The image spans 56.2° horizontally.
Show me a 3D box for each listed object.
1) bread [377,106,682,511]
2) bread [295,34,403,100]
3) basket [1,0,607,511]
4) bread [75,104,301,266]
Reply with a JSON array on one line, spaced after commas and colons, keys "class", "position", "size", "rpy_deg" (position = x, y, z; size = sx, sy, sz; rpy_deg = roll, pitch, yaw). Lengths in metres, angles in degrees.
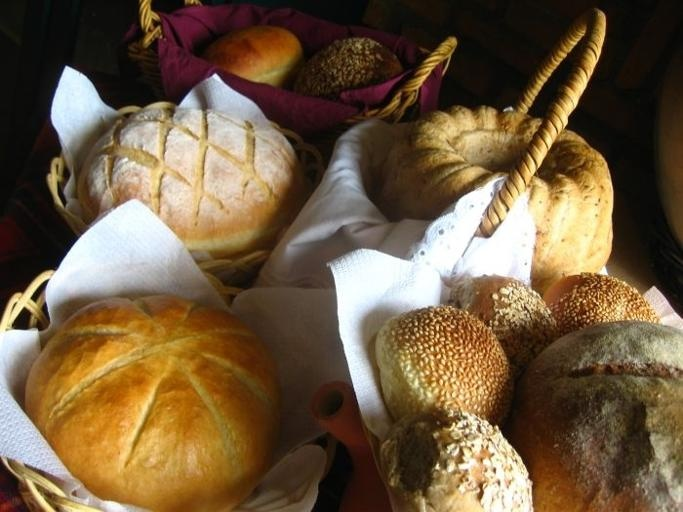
[{"class": "bread", "position": [0.248, -0.004, 0.912], "size": [0.355, 0.184, 0.554], "rpy_deg": [14, 52, -5]}, {"class": "bread", "position": [0.009, -0.386, 1.316], "size": [0.179, 0.074, 0.140], "rpy_deg": [-24, 21, -20]}, {"class": "basket", "position": [-0.075, -0.001, 0.991], "size": [0.713, 0.258, 0.684], "rpy_deg": [-33, 68, -30]}, {"class": "bread", "position": [-0.262, -0.098, 1.157], "size": [0.278, 0.101, 0.285], "rpy_deg": [16, 68, -6]}]
